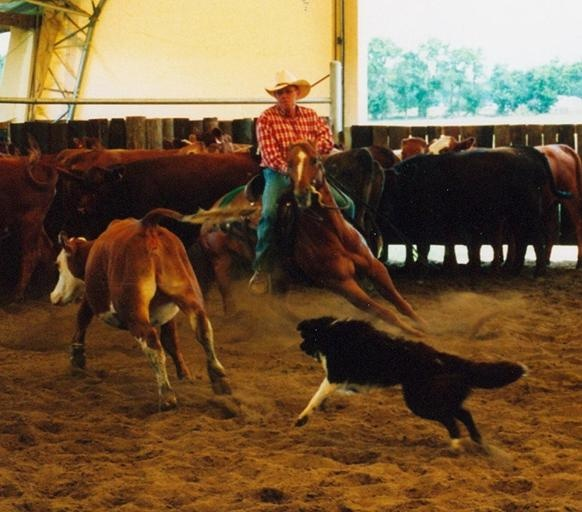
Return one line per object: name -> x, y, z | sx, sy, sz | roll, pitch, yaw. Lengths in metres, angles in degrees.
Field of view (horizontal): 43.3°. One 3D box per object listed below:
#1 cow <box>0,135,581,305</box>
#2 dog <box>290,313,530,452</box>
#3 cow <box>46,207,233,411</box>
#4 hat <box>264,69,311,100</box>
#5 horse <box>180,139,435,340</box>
cow -> 0.038, -0.295, 6.260 | 4.131, 0.835, 1.570 | -3, 35, -6
dog -> 0.521, 0.691, 3.978 | 1.341, 0.597, 0.320 | 11, -5, 22
cow -> -0.897, 0.283, 4.535 | 0.578, 1.168, 1.234 | -4, 8, -44
hat -> -0.033, -1.363, 5.591 | 0.270, 0.130, 0.324 | -23, -14, 15
horse -> 0.539, 0.142, 5.795 | 0.558, 1.377, 2.562 | -27, -20, 8
